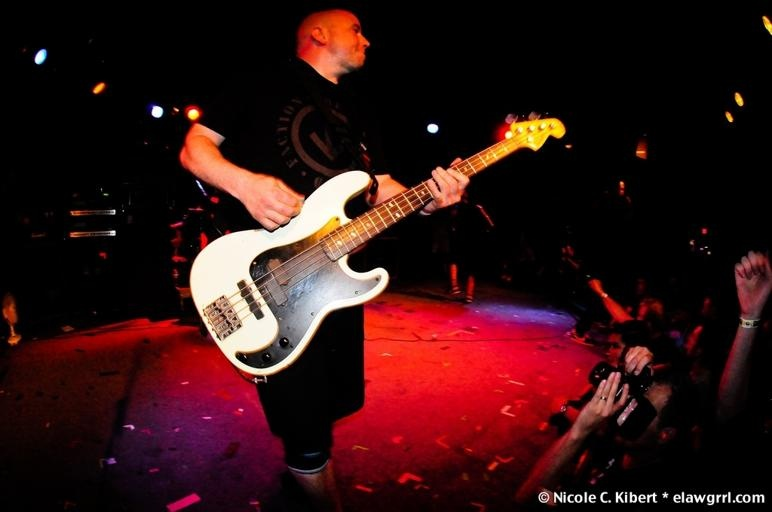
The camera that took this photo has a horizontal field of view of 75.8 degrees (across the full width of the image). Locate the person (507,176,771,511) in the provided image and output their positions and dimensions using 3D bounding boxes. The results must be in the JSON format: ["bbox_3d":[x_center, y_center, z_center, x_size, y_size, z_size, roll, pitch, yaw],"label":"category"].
[{"bbox_3d":[2.501,1.045,4.660,3.164,1.382,0.495,-37,17,-24],"label":"person"}]
